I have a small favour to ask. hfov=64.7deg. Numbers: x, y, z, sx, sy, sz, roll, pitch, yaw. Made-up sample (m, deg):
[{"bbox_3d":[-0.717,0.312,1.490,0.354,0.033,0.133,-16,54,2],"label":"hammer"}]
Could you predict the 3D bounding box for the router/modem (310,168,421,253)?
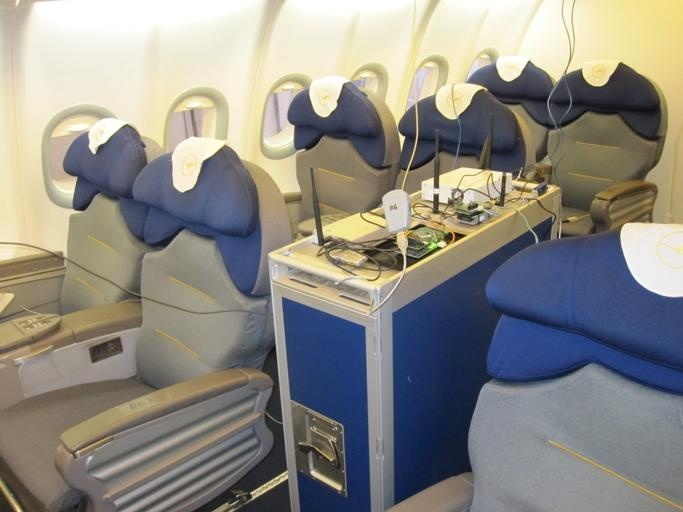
[{"bbox_3d":[0.067,-0.139,1.684,0.299,0.207,0.455,6,22,7],"label":"router/modem"}]
